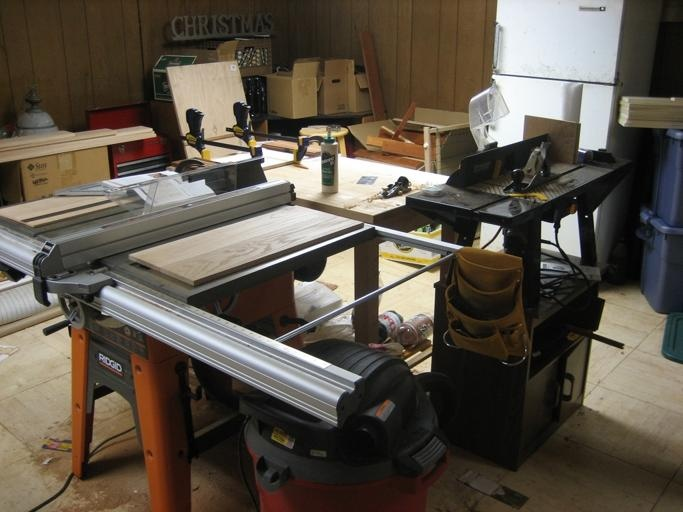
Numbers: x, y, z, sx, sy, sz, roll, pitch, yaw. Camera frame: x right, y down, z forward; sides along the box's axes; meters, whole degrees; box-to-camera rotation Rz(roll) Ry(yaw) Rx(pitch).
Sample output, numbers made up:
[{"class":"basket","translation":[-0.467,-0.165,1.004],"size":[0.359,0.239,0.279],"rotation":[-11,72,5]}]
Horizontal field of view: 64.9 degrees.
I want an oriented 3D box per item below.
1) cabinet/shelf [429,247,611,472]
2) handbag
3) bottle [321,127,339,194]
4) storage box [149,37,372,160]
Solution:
[{"class":"cabinet/shelf","translation":[0.889,0.515,2.802],"size":[0.845,0.754,0.570],"rotation":[-11,22,-43]},{"class":"handbag","translation":[0.568,0.209,2.109],"size":[0.369,0.429,0.233],"rotation":[18,50,33]},{"class":"bottle","translation":[-0.068,-0.497,2.865],"size":[0.103,0.298,0.209],"rotation":[-6,23,-1]},{"class":"storage box","translation":[-0.747,-1.579,5.356],"size":[2.183,1.164,0.996],"rotation":[-20,27,-32]}]
